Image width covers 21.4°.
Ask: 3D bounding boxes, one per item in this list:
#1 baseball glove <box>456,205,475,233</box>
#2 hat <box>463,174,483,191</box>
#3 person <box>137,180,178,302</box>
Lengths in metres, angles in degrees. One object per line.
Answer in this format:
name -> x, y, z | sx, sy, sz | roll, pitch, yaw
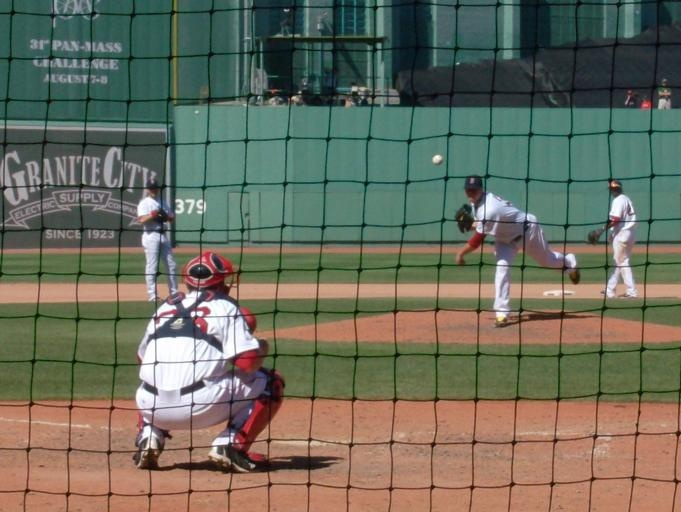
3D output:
baseball glove -> 2.802, -0.857, 41.422 | 0.440, 0.626, 0.319 | -8, 11, -12
hat -> 2.880, -1.630, 40.279 | 0.397, 0.313, 0.645 | -1, 5, 4
person -> -4.224, -0.346, 42.803 | 1.153, 2.880, 1.270 | -5, -3, 41
